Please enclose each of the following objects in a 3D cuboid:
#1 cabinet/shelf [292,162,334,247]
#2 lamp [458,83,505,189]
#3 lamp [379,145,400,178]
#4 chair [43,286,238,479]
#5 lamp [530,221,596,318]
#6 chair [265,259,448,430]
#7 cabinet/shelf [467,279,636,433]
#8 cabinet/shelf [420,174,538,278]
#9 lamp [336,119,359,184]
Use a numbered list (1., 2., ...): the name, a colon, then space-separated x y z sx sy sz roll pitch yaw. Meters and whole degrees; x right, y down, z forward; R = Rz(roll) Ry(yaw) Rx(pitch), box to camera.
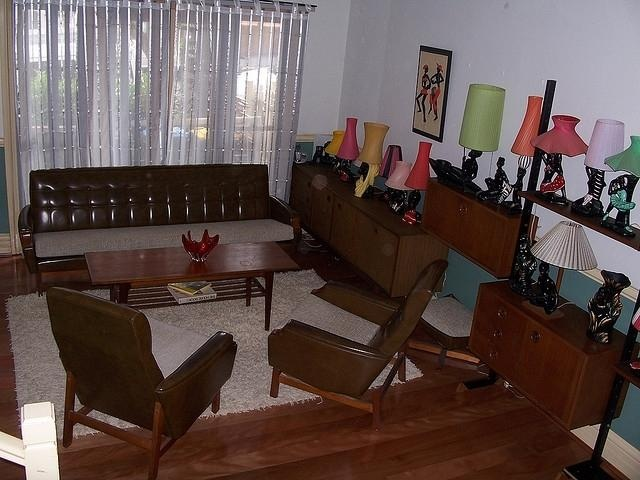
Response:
1. cabinet/shelf: -0.077 -0.451 5.825 0.318 0.745 0.844 -2 32 -19
2. lamp: 1.314 -0.870 3.784 0.292 0.787 0.257 -10 23 -35
3. lamp: 0.761 -0.897 5.160 0.284 0.344 0.302 6 14 -5
4. chair: -1.121 0.926 2.854 0.707 0.996 0.771 17 32 19
5. lamp: 1.600 0.196 3.078 0.267 0.638 0.353 -13 25 -40
6. chair: 0.219 0.501 3.773 1.319 1.423 1.026 14 27 18
7. cabinet/shelf: 1.635 0.793 3.185 0.531 0.651 0.981 -2 27 -23
8. cabinet/shelf: 1.332 -0.147 3.794 0.309 0.446 0.900 0 27 -24
9. lamp: 0.346 -1.147 5.754 0.265 0.767 0.590 3 19 1
